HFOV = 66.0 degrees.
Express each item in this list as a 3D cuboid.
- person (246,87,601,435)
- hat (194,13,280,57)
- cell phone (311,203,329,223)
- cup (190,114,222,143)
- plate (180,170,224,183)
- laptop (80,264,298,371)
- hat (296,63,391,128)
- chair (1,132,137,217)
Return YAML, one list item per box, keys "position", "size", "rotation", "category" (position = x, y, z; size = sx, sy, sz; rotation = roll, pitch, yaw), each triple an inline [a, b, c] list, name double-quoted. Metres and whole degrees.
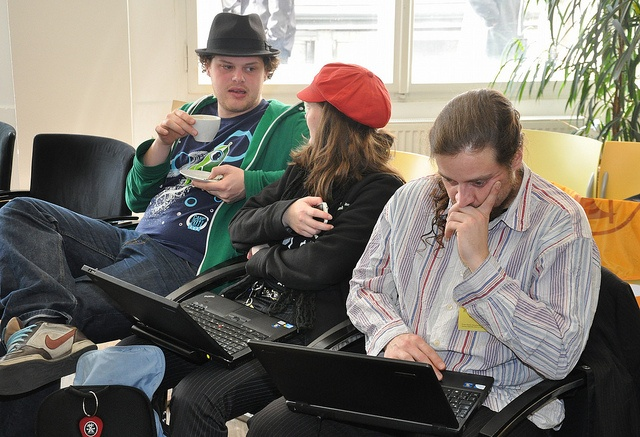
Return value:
- position: [0.562, 0.046, 2.134]
  size: [1.165, 1.499, 1.035]
  rotation: [-1, 13, -34]
  category: "person"
- position: [-0.434, -0.987, 2.678]
  size: [0.458, 0.231, 0.603]
  rotation: [-4, 15, -16]
  category: "hat"
- position: [-0.002, -0.022, 1.947]
  size: [0.057, 0.077, 0.023]
  rotation: [-6, -5, 35]
  category: "cell phone"
- position: [-0.554, -0.430, 2.352]
  size: [0.150, 0.113, 0.146]
  rotation: [8, 21, -3]
  category: "cup"
- position: [-0.540, -0.194, 2.234]
  size: [0.101, 0.024, 0.098]
  rotation: [12, 11, -15]
  category: "plate"
- position: [-0.464, 0.297, 1.858]
  size: [0.551, 0.346, 0.526]
  rotation: [11, 24, 37]
  category: "laptop"
- position: [0.112, -0.553, 2.119]
  size: [0.444, 0.211, 0.312]
  rotation: [25, 26, 9]
  category: "hat"
- position: [-1.401, -0.214, 3.077]
  size: [0.540, 0.719, 0.595]
  rotation: [6, -1, 3]
  category: "chair"
